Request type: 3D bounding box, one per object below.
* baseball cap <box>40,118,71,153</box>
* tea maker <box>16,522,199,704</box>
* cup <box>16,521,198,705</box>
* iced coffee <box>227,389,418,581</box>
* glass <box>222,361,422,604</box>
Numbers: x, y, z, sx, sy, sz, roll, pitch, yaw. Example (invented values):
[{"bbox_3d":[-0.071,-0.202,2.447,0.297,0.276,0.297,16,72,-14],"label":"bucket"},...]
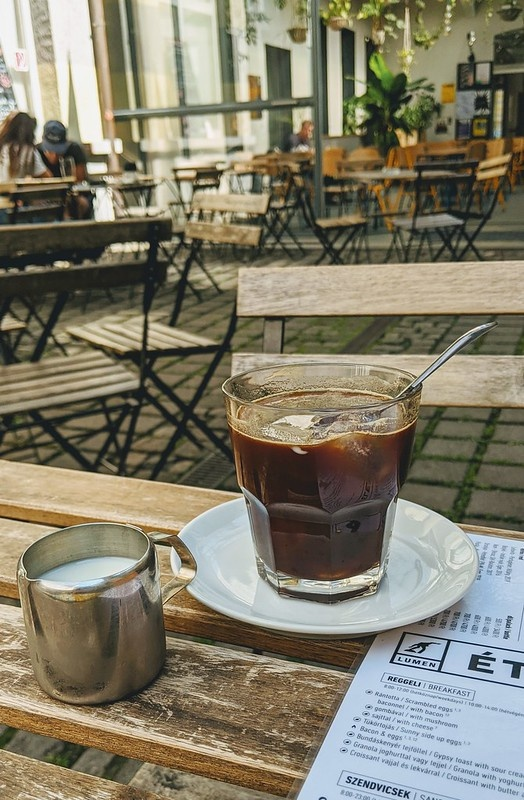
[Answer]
[{"bbox_3d":[-1.117,-1.409,3.442,0.132,0.106,0.193,-2,58,-23],"label":"baseball cap"},{"bbox_3d":[-0.092,0.133,0.427,0.127,0.088,0.078,-11,21,-36],"label":"tea maker"},{"bbox_3d":[-0.091,0.132,0.427,0.128,0.088,0.079,-11,21,-36],"label":"cup"},{"bbox_3d":[0.051,0.075,0.544,0.168,0.147,0.160,0,4,23],"label":"iced coffee"},{"bbox_3d":[0.051,0.071,0.537,0.154,0.167,0.157,1,10,20],"label":"glass"}]
